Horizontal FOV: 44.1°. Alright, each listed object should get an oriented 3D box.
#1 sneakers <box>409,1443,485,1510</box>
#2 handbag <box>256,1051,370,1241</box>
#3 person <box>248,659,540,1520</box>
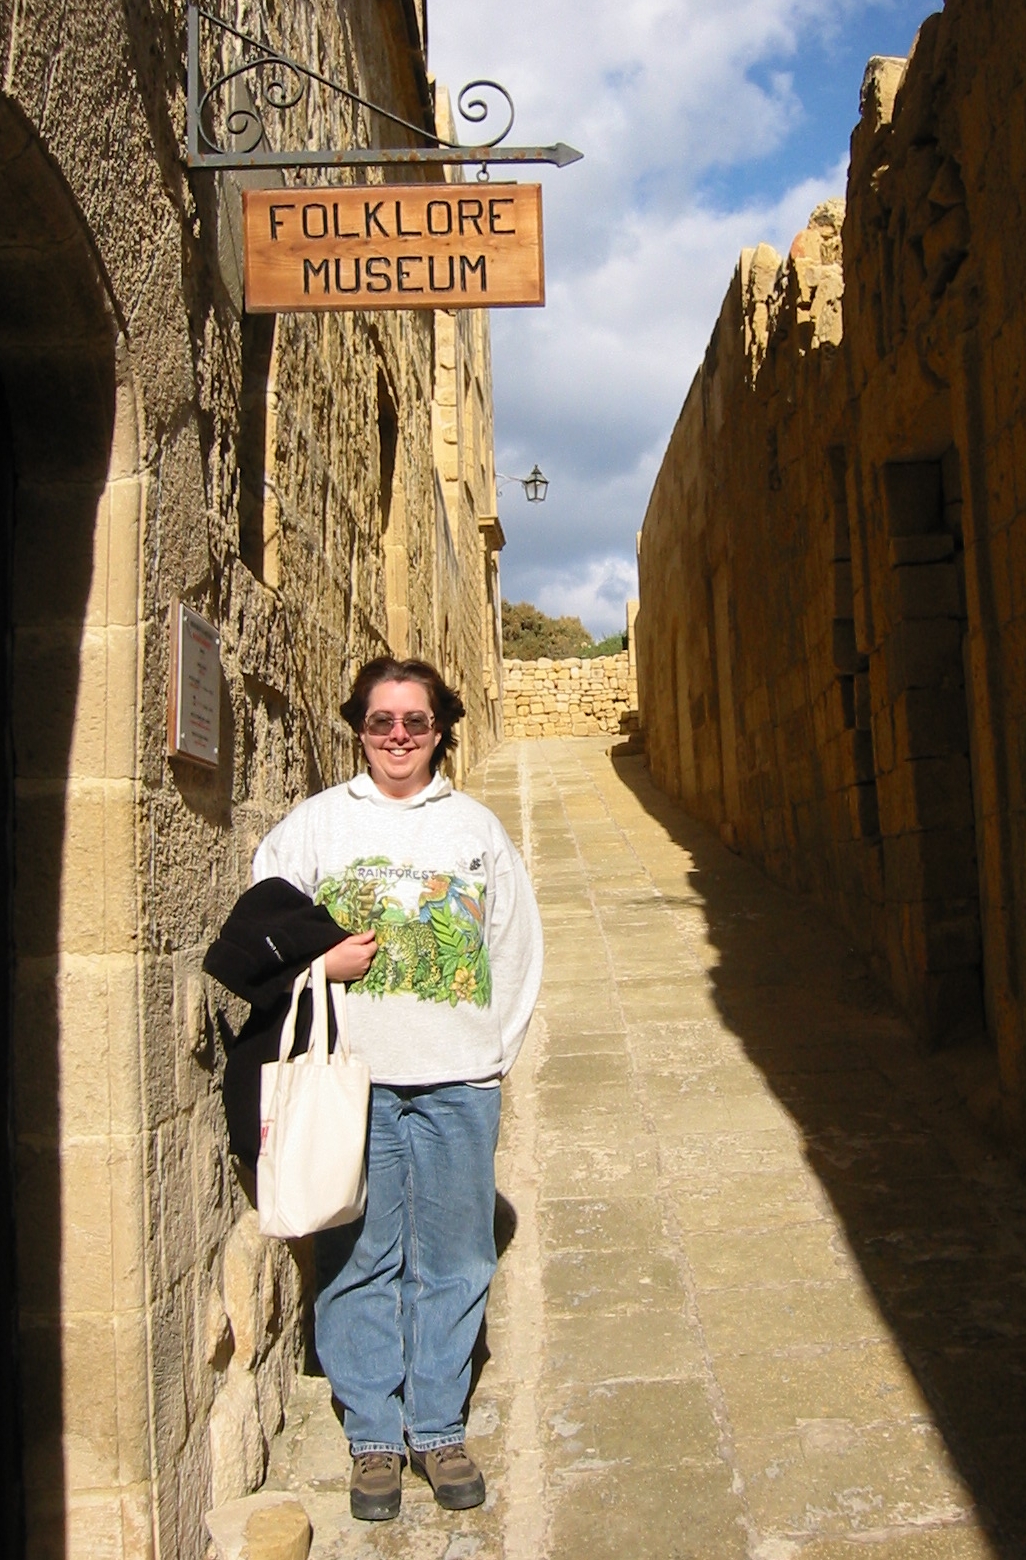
[{"bbox_3d":[-0.104,1.166,2.123,0.055,0.071,0.157,5,-20,-24],"label":"sneakers"},{"bbox_3d":[-0.312,0.558,1.979,0.175,0.260,0.164,-2,2,-6],"label":"handbag"},{"bbox_3d":[-0.172,0.513,2.279,0.542,1.488,0.470,-3,2,-24],"label":"person"}]
